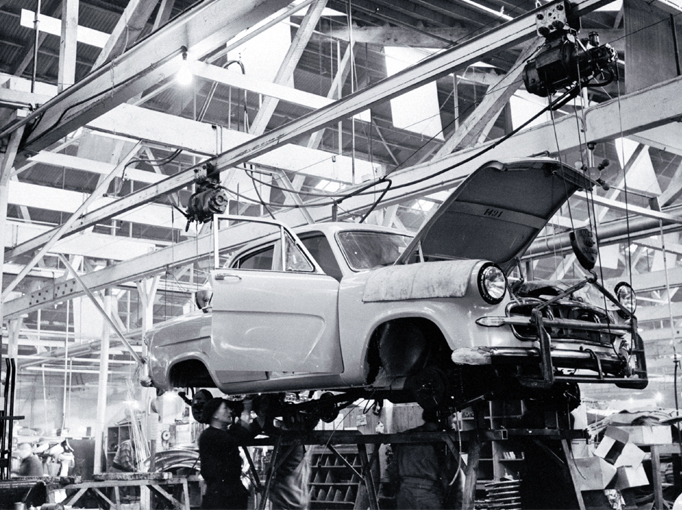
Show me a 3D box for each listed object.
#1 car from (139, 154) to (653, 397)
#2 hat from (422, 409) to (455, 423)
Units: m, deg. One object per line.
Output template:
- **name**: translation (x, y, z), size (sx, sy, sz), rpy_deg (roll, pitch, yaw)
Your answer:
- **car**: translation (0.411, 0.690, 9.637), size (4.426, 1.859, 2.713), rpy_deg (-9, -15, 33)
- **hat**: translation (1.135, 1.871, 9.647), size (0.385, 0.173, 0.438), rpy_deg (-2, -15, -2)
